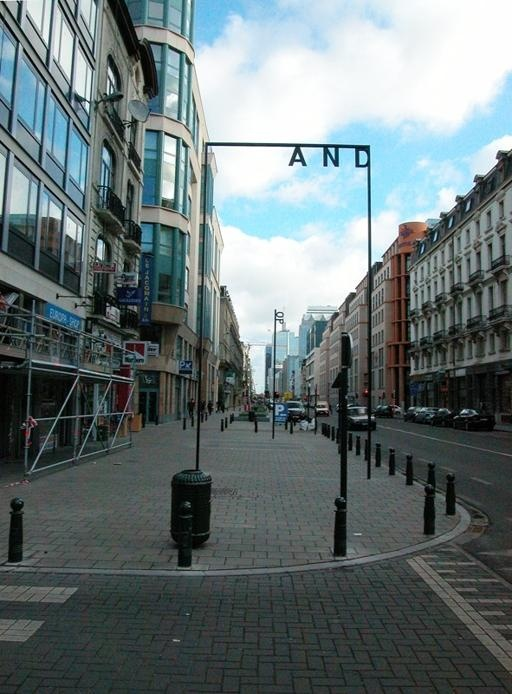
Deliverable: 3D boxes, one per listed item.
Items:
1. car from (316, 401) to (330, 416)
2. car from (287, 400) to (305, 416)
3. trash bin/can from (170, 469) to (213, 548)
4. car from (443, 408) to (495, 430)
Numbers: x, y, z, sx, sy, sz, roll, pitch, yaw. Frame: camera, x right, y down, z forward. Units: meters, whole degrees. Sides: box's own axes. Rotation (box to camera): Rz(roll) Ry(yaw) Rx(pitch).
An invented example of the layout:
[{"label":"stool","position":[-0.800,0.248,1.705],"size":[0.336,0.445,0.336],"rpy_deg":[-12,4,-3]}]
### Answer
[{"label":"car","position":[7.718,7.032,66.357],"size":[1.514,1.433,3.799],"rpy_deg":[-1,-8,4]},{"label":"car","position":[3.216,4.860,46.077],"size":[1.076,1.020,2.669],"rpy_deg":[0,-10,1]},{"label":"trash bin/can","position":[-0.718,1.829,6.528],"size":[0.429,0.864,0.639],"rpy_deg":[0,-6,-8]},{"label":"car","position":[13.532,4.571,36.421],"size":[1.616,1.267,2.402],"rpy_deg":[2,-7,-20]}]
